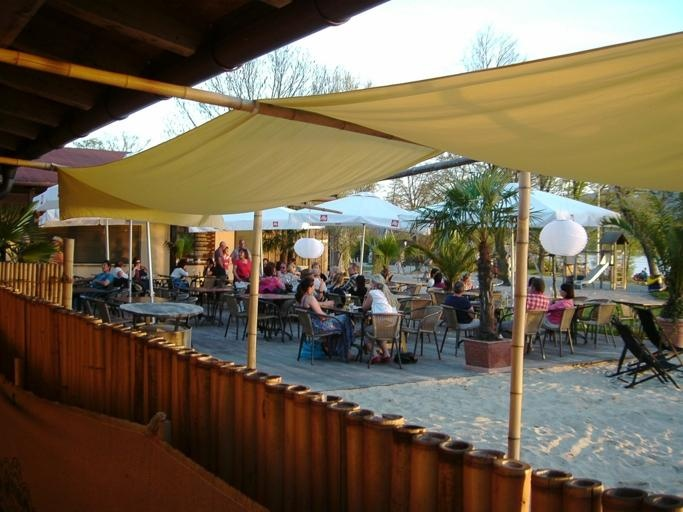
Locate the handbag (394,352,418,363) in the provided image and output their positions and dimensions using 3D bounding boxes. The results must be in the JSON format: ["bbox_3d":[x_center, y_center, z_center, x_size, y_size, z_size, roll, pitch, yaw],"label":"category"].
[{"bbox_3d":[0.974,1.556,8.110,0.240,0.109,0.309,1,-3,-1],"label":"handbag"}]

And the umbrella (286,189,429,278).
[{"bbox_3d":[0.447,-0.651,12.812,2.121,1.426,2.162,-2,6,-31],"label":"umbrella"}]

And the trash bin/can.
[{"bbox_3d":[-2.083,0.784,6.190,0.882,0.556,0.749,3,-2,9],"label":"trash bin/can"}]

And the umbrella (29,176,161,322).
[{"bbox_3d":[-6.944,-0.582,15.849,3.669,2.410,3.416,1,-5,-19],"label":"umbrella"}]
